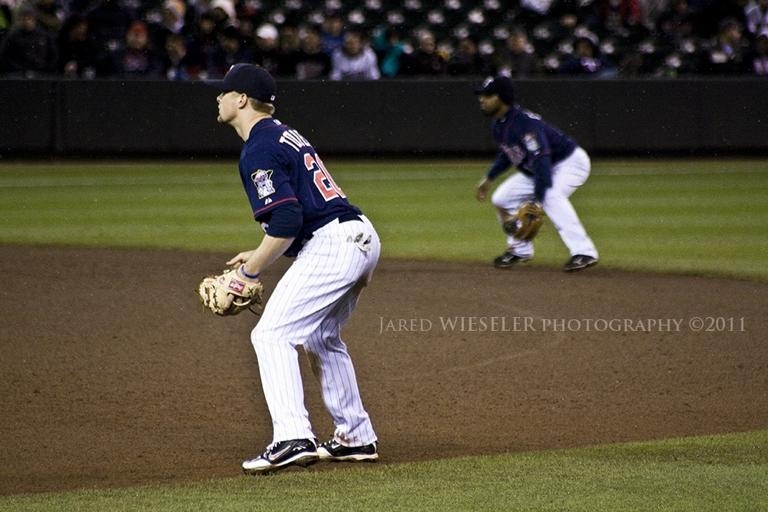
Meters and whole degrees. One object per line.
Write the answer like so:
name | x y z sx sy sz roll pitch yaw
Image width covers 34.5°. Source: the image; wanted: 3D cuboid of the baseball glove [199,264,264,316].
baseball glove | -1.180 0.295 9.518 0.478 0.314 0.203 -1 -27 10

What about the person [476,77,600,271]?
person | 1.516 -0.827 12.308 1.162 1.955 0.607 -1 6 8

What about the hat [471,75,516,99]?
hat | 1.088 -1.632 12.121 0.391 0.198 0.254 4 20 0

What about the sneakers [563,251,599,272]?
sneakers | 1.936 0.061 12.261 0.400 0.176 0.145 -8 2 5

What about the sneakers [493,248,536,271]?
sneakers | 1.352 0.027 12.710 0.410 0.165 0.166 1 38 9

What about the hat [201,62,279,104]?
hat | -1.148 -1.403 9.712 0.567 0.280 0.397 9 11 -12

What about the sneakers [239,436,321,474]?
sneakers | -0.847 1.553 9.675 0.680 0.276 0.225 -4 0 1

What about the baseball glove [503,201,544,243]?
baseball glove | 1.417 -0.334 12.524 0.345 0.198 0.417 -29 -9 -12

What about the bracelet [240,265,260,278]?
bracelet | -1.014 0.119 9.510 0.116 0.029 0.112 16 5 29

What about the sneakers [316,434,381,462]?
sneakers | -0.288 1.542 9.904 0.512 0.213 0.176 3 1 -5
